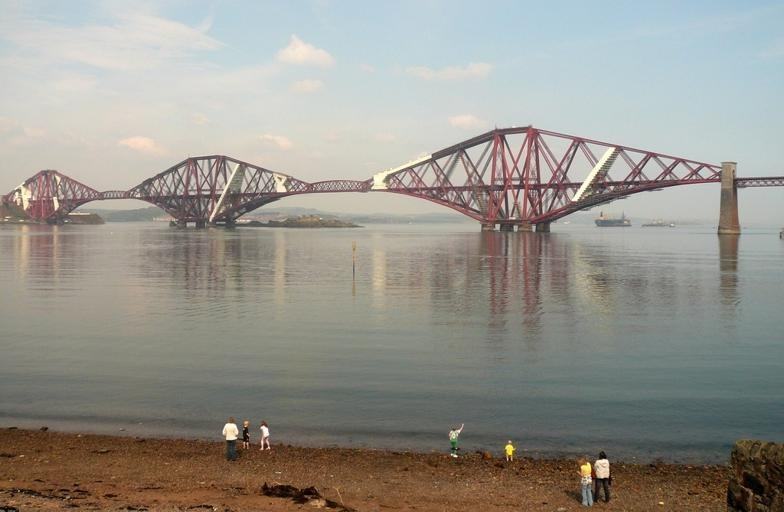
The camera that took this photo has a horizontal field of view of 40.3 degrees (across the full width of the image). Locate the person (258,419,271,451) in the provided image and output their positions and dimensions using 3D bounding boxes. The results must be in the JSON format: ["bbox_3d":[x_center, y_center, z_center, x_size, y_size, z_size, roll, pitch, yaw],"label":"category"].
[{"bbox_3d":[-6.122,8.391,50.793,0.550,1.215,1.330,-1,12,-7],"label":"person"}]
